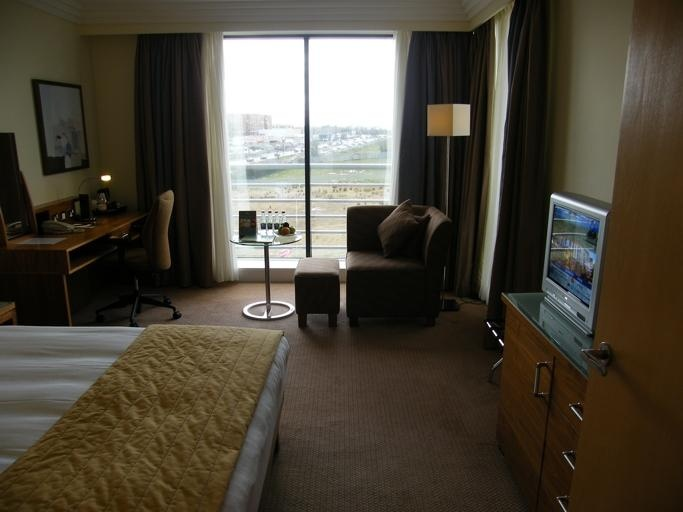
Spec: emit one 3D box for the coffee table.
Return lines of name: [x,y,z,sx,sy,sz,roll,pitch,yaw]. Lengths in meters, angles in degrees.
coffee table: [-0.708,0.153,4.992,0.724,0.873,0.759,-1,11,-5]

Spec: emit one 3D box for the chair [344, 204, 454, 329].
chair: [0.478,0.131,4.998,0.988,1.216,1.033,1,12,2]

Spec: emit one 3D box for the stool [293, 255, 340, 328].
stool: [-0.217,0.308,4.739,0.409,0.564,0.761,0,11,-1]
